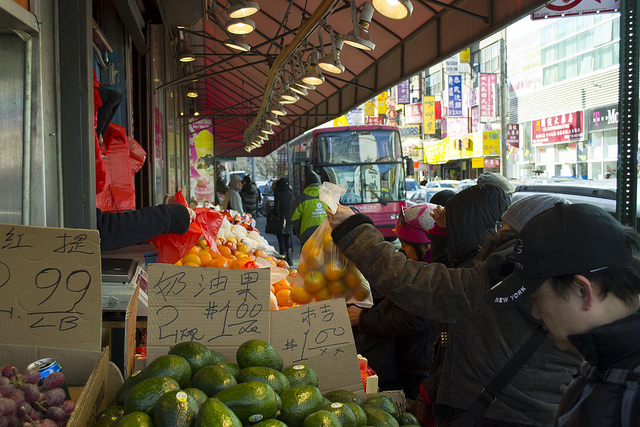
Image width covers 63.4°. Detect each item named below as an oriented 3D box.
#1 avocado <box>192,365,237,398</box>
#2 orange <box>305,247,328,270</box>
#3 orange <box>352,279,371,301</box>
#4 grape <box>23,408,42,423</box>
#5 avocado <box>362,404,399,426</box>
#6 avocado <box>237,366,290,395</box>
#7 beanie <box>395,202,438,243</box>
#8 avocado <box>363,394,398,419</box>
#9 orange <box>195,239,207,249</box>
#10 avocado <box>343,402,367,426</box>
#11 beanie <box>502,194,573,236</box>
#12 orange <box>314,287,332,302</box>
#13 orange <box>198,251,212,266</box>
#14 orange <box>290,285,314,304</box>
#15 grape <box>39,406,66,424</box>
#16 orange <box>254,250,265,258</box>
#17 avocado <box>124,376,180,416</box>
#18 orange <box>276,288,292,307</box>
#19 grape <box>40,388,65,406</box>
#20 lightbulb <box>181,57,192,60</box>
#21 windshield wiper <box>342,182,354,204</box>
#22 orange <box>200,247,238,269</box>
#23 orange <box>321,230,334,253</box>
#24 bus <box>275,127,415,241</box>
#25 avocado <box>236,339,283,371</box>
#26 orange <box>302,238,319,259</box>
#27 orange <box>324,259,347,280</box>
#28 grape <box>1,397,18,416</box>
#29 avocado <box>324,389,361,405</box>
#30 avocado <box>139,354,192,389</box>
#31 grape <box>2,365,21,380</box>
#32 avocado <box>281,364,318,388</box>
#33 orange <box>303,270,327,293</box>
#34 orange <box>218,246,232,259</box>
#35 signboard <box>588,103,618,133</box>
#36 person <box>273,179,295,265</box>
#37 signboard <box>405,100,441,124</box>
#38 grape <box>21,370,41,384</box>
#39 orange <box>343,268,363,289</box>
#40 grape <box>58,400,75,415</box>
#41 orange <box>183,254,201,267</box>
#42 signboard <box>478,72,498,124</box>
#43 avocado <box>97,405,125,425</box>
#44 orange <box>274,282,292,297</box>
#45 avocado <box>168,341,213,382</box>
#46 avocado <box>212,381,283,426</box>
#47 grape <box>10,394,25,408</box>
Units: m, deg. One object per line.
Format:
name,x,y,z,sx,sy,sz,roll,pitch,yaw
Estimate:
avocado,-0.469,0.740,2.284,0.192,0.103,0.200,0,4,-37
orange,-0.029,0.275,3.356,0.127,0.138,0.155,-17,15,-6
orange,0.272,0.493,3.327,0.089,0.133,0.073,-5,3,-30
grape,-1.157,0.821,2.089,0.041,0.045,0.019,25,-44,-14
avocado,0.288,0.971,2.483,0.162,0.071,0.170,-1,4,-1
avocado,-0.258,0.738,2.352,0.187,0.120,0.104,14,8,1
beanie,0.780,0.093,4.209,0.313,0.306,0.383,-1,4,8
avocado,0.305,0.972,2.615,0.132,0.111,0.089,18,-17,15
orange,-1.128,0.276,4.934,0.110,0.099,0.089,-1,2,-39
avocado,0.166,0.930,2.394,0.056,0.099,0.075,-37,-6,4
beanie,1.304,-0.003,3.121,0.365,0.213,0.236,-3,4,-23
orange,0.022,0.525,3.308,0.088,0.081,0.070,3,-6,-2
orange,-1.062,0.413,4.738,0.099,0.133,0.106,-15,-26,34
orange,-0.120,0.535,3.363,0.112,0.125,0.119,1,5,1
grape,-1.100,0.829,2.142,0.111,0.049,0.050,41,-40,-11
orange,-0.713,0.474,6.007,0.071,0.095,0.076,1,-14,-1
avocado,-0.717,0.797,2.241,0.247,0.150,0.147,-7,-8,13
orange,-0.265,0.629,3.821,0.114,0.135,0.122,0,2,13
grape,-1.099,0.762,2.135,0.088,0.045,0.046,-23,-16,-33
lightbulb,-2.427,-2.835,9.472,0.167,0.027,0.070,-3,4,-18
windshield wiper,0.687,-0.486,12.276,0.044,0.652,0.045,24,2,-23
orange,-0.937,0.411,4.733,0.161,0.070,0.162,29,1,-35
orange,0.044,0.180,3.316,0.070,0.137,0.111,-1,3,-3
bus,0.532,-0.844,16.793,2.173,2.915,6.378,0,-3,-13
avocado,-0.301,0.651,2.533,0.194,0.146,0.192,1,7,-32
orange,-0.051,0.228,3.428,0.067,0.113,0.125,17,-39,-10
orange,0.100,0.355,3.337,0.116,0.131,0.126,18,27,19
grape,-1.220,0.765,2.035,0.050,0.065,0.034,3,-33,-45
avocado,0.118,0.885,2.544,0.141,0.084,0.085,6,-8,-3
avocado,-0.699,0.679,2.370,0.213,0.139,0.222,1,5,-30
grape,-1.290,0.662,2.159,0.042,0.049,0.053,-2,4,-15
avocado,-0.100,0.777,2.451,0.132,0.115,0.189,-2,1,-3
orange,-0.034,0.435,3.306,0.133,0.152,0.133,3,17,-2
orange,-0.976,0.388,5.265,0.118,0.093,0.092,31,35,6
signboard,13.741,-4.611,25.028,0.059,1.187,1.836,-4,5,-15
person,-1.004,0.182,13.130,0.580,2.146,0.640,3,5,36
signboard,7.746,-7.786,40.230,2.098,1.495,2.205,-1,-3,-10
grape,-1.193,0.679,2.140,0.061,0.048,0.047,1,-42,-51
orange,0.220,0.404,3.323,0.110,0.151,0.120,2,10,4
grape,-1.065,0.828,2.186,0.056,0.051,0.048,31,-61,-28
orange,-1.132,0.410,4.544,0.097,0.133,0.106,0,-24,-5
signboard,9.898,-6.838,30.582,0.369,4.167,2.899,5,10,38
avocado,-0.919,0.885,2.262,0.137,0.076,0.071,-9,-13,-7
orange,-0.272,0.589,4.001,0.089,0.116,0.099,1,-28,-6
avocado,-0.632,0.751,2.492,0.189,0.253,0.203,3,-36,-11
avocado,-0.289,0.798,2.170,0.239,0.156,0.151,7,-3,-1
grape,-1.207,0.743,2.065,0.041,0.022,0.041,46,17,11
